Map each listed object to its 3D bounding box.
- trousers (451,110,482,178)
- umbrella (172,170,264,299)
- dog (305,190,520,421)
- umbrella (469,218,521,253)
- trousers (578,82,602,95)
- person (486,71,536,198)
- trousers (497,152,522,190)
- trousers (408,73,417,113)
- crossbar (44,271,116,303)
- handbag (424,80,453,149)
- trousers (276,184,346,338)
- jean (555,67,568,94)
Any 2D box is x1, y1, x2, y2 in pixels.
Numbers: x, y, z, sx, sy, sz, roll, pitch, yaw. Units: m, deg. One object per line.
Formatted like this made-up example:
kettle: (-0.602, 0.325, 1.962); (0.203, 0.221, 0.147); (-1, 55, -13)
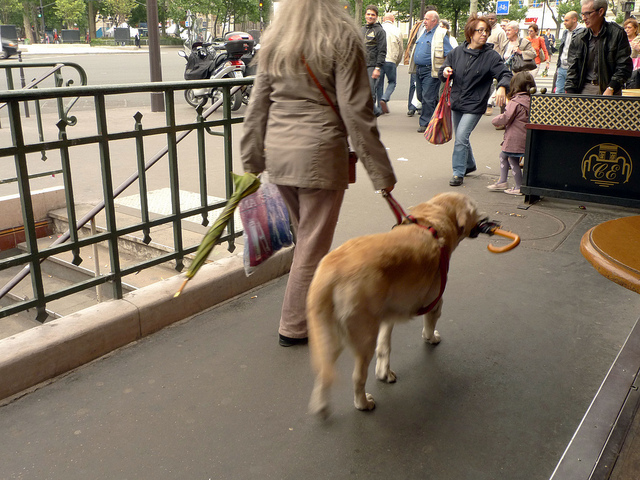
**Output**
trousers: (2.305, -1.532, 7.794); (0.467, 1.050, 0.715); (7, 21, 13)
umbrella: (-0.758, -0.198, 4.102); (0.532, 0.421, 1.836); (-11, 19, 11)
dog: (0.597, 0.365, 3.119); (1.917, 1.057, 0.513); (-18, 22, -39)
umbrella: (1.165, 0.017, 3.129); (0.199, 0.136, 0.318); (-30, 30, -18)
trousers: (4.231, -2.356, 7.496); (0.192, 0.158, 0.310); (-3, 21, -14)
person: (2.876, -1.565, 7.150); (0.549, 1.756, 0.597); (10, 22, 20)
trousers: (2.941, -1.056, 7.345); (0.386, 0.521, 0.421); (15, 24, 30)
trousers: (2.641, -4.086, 13.446); (0.253, 1.041, 0.775); (6, 21, 9)
crossbar: (-1.864, 0.388, 3.638); (0.461, 0.044, 0.066); (-19, 5, -11)
handbag: (1.908, -1.951, 7.428); (0.427, 0.939, 0.414); (-8, 29, -26)
trousers: (-0.074, 0.200, 3.574); (0.422, 1.174, 0.224); (3, 21, 3)
jean: (5.622, -3.702, 11.155); (0.208, 0.545, 1.319); (11, 22, 22)
